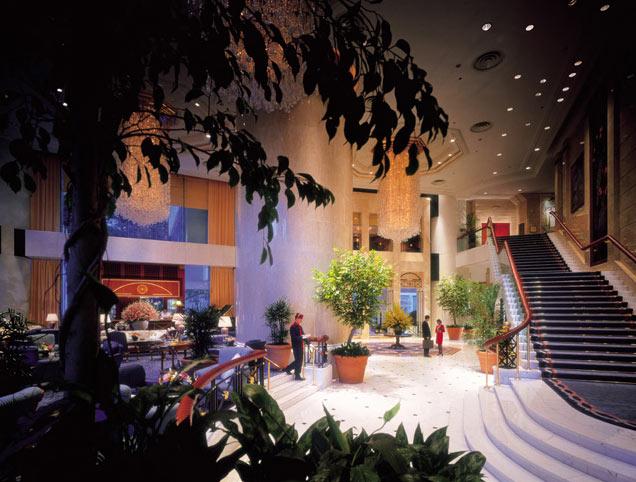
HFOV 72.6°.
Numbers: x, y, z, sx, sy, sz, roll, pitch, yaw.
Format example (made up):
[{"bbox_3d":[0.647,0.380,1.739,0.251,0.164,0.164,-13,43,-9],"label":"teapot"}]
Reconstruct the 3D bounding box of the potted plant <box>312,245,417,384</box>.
[{"bbox_3d":[0.704,1.724,10.241,2.361,3.437,2.200,7,-10,-28],"label":"potted plant"}]

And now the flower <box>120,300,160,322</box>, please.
[{"bbox_3d":[-4.712,1.864,11.353,0.645,0.518,0.668,3,-4,-33],"label":"flower"}]

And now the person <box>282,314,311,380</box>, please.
[{"bbox_3d":[-0.434,2.062,8.601,0.369,1.225,0.856,-1,-7,1],"label":"person"}]

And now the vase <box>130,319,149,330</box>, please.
[{"bbox_3d":[-4.780,2.266,11.646,0.341,0.288,0.378,-3,-14,7],"label":"vase"}]
